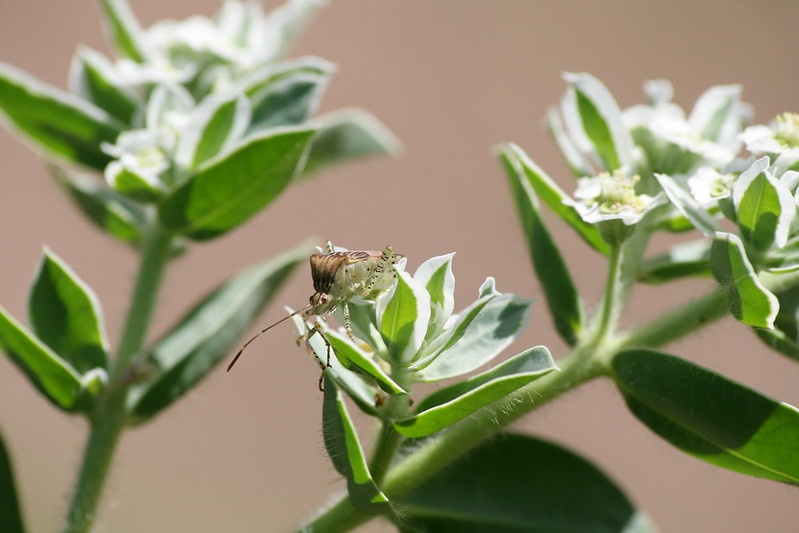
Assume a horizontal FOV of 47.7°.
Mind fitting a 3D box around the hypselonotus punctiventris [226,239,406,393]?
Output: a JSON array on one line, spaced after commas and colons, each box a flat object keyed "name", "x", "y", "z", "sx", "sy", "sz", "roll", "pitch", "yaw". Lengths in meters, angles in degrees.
[{"name": "hypselonotus punctiventris", "x": -0.120, "y": 0.051, "z": 1.609, "sx": 0.282, "sy": 0.148, "sz": 0.418, "roll": 13, "pitch": 33, "yaw": 34}]

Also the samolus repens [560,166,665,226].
[{"name": "samolus repens", "x": 0.374, "y": -0.118, "z": 1.596, "sx": 0.113, "sy": 0.052, "sz": 0.120, "roll": 22, "pitch": 29, "yaw": 27}]
